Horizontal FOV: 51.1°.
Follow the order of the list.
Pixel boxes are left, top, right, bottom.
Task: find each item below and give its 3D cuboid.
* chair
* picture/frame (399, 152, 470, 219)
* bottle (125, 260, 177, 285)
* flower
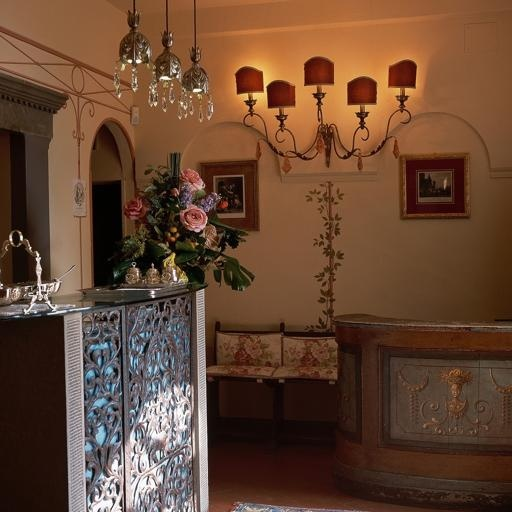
[{"bbox_3d":[0.120,1.121,4.959,1.200,0.992,0.730,11,3,9],"label":"chair"},{"bbox_3d":[1.687,-0.662,4.970,0.520,0.639,0.059,0,-1,11],"label":"picture/frame"},{"bbox_3d":[-0.469,0.088,2.399,0.224,0.084,0.215,12,4,-1],"label":"bottle"},{"bbox_3d":[-0.303,-0.090,2.644,0.588,0.705,0.581,2,-8,32],"label":"flower"}]
